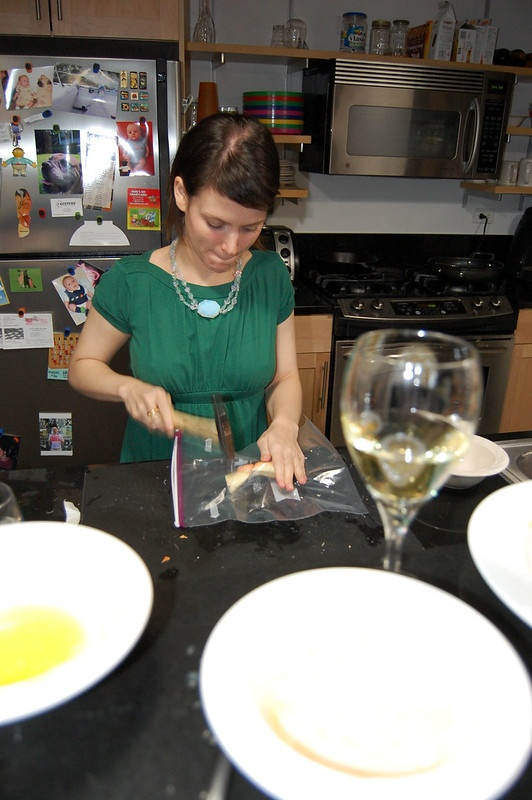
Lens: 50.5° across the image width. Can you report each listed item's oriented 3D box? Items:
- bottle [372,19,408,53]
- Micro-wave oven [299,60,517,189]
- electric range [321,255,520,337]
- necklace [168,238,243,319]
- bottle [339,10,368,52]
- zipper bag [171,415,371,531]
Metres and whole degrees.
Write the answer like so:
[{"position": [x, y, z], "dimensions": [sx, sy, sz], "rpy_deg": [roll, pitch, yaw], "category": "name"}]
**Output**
[{"position": [0.529, -1.562, 2.463], "dimensions": [0.152, 0.149, 0.154], "rpy_deg": [11, 26, 18], "category": "bottle"}, {"position": [0.647, -1.289, 2.621], "dimensions": [0.815, 0.456, 0.510], "rpy_deg": [0, 28, -4], "category": "Micro-wave oven"}, {"position": [0.679, -0.473, 2.692], "dimensions": [0.848, 0.318, 0.653], "rpy_deg": [-2, 20, -4], "category": "electric range"}, {"position": [-0.161, -0.272, 1.389], "dimensions": [0.149, 0.210, 0.041], "rpy_deg": [-3, -2, -9], "category": "necklace"}, {"position": [0.371, -1.583, 2.419], "dimensions": [0.108, 0.206, 0.168], "rpy_deg": [2, 15, 6], "category": "bottle"}, {"position": [-0.001, 0.078, 0.861], "dimensions": [0.242, 0.124, 0.243], "rpy_deg": [1, 18, -6], "category": "zipper bag"}]
